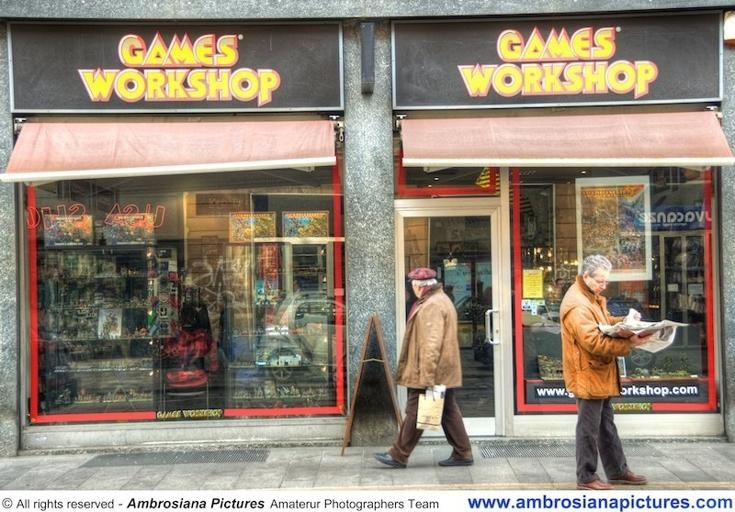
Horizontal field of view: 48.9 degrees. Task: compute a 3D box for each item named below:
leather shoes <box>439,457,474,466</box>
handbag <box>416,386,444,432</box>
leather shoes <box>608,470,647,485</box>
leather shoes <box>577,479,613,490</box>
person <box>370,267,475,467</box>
[{"bbox_3d":[1.120,2.618,10.207,0.422,0.145,0.149,3,-4,1],"label":"leather shoes"},{"bbox_3d":[0.769,1.864,9.842,0.379,0.475,0.244,-4,-1,-1],"label":"handbag"},{"bbox_3d":[3.085,2.647,9.642,0.453,0.166,0.172,-3,-1,5],"label":"leather shoes"},{"bbox_3d":[2.660,2.668,9.443,0.296,0.124,0.141,-3,-4,16],"label":"leather shoes"},{"bbox_3d":[0.711,1.427,10.051,1.052,2.188,0.629,-4,-1,3],"label":"person"}]
